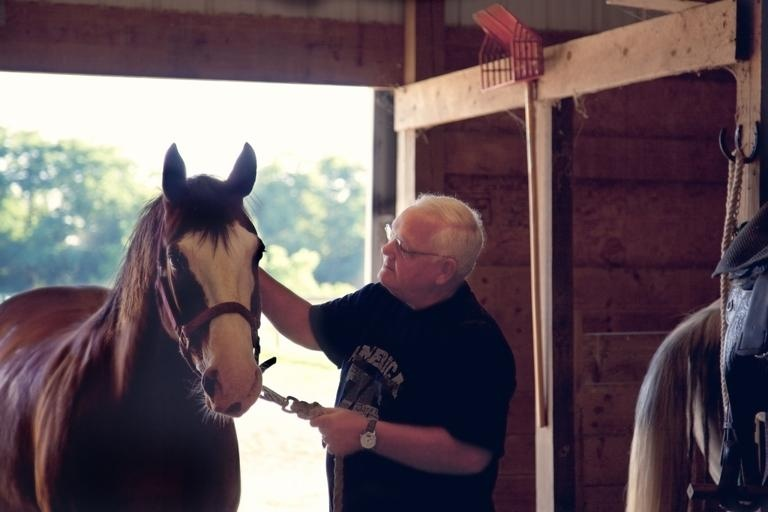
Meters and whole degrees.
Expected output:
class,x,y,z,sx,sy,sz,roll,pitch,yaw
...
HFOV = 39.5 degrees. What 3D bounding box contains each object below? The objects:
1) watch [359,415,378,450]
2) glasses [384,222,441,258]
class,x,y,z,sx,sy,sz,roll,pitch,yaw
watch,-0.061,0.711,4.262,0.069,0.115,0.106,9,-15,8
glasses,0.107,-0.044,4.422,0.153,0.049,0.151,11,5,-20
